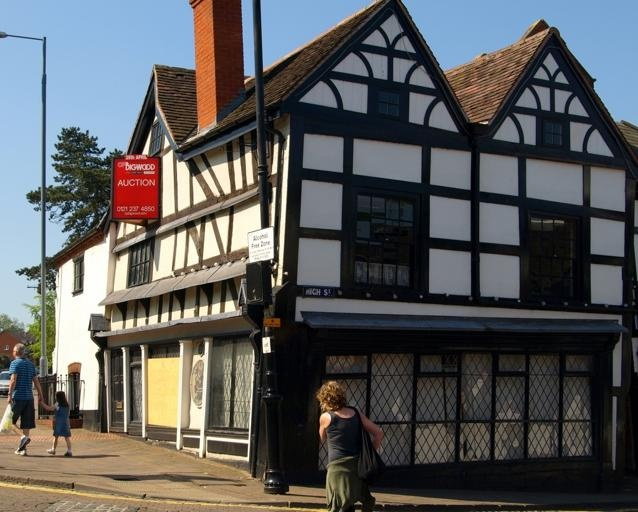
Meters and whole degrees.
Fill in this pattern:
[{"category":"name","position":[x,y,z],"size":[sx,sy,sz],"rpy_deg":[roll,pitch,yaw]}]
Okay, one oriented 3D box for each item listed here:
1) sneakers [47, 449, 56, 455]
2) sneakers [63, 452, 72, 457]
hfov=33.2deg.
[{"category":"sneakers","position":[-5.889,4.330,23.428],"size":[0.079,0.177,0.230],"rpy_deg":[6,11,-36]},{"category":"sneakers","position":[-5.548,4.370,23.483],"size":[0.099,0.137,0.191],"rpy_deg":[2,2,-42]}]
